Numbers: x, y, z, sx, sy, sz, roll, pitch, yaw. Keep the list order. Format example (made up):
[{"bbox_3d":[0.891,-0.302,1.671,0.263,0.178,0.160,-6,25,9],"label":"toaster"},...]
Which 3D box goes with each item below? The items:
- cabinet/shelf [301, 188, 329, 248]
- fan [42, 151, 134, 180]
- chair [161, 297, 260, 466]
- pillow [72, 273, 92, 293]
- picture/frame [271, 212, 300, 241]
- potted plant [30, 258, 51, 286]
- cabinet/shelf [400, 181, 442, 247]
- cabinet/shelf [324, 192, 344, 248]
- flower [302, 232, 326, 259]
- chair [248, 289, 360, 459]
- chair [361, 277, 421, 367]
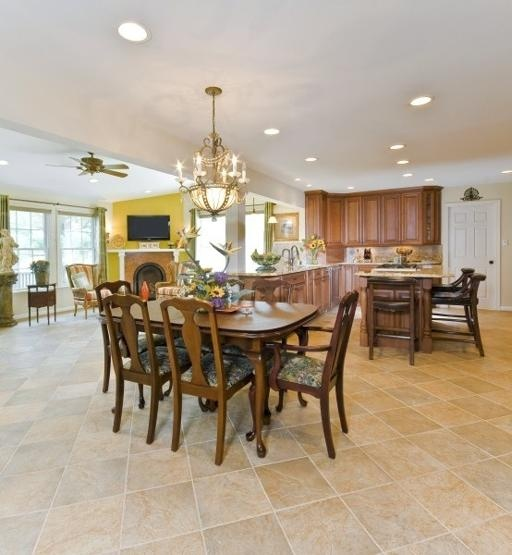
[{"bbox_3d":[1.088,-1.040,8.049,0.406,0.948,0.314,6,11,41],"label":"cabinet/shelf"},{"bbox_3d":[-1.964,-1.289,5.131,0.671,0.229,0.686,-4,-2,41],"label":"fan"},{"bbox_3d":[-0.288,0.536,2.758,0.546,0.959,0.797,-3,12,-11],"label":"chair"},{"bbox_3d":[-2.847,0.079,7.261,0.268,0.293,0.457,-1,11,-4],"label":"pillow"},{"bbox_3d":[0.549,-0.939,8.164,0.603,0.565,0.049,2,4,29],"label":"picture/frame"},{"bbox_3d":[-3.092,-0.092,6.481,0.420,0.415,0.344,-2,8,-37],"label":"potted plant"},{"bbox_3d":[2.873,-1.050,7.763,0.668,0.917,0.538,3,8,38],"label":"cabinet/shelf"},{"bbox_3d":[1.477,-1.017,8.229,0.362,0.872,0.092,5,13,35],"label":"cabinet/shelf"},{"bbox_3d":[1.036,-0.506,7.346,0.480,0.428,0.448,2,0,-17],"label":"flower"},{"bbox_3d":[0.324,0.523,2.732,0.538,0.921,0.576,3,13,13],"label":"chair"},{"bbox_3d":[1.351,0.355,4.447,0.549,0.841,0.436,2,11,29],"label":"chair"}]
